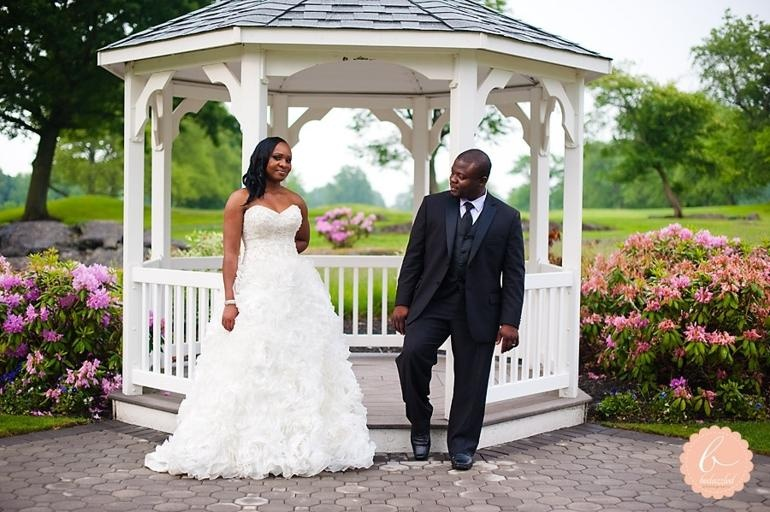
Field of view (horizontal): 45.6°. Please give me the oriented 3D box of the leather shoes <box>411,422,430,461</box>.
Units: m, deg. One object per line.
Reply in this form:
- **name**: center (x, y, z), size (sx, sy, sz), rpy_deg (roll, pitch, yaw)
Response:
- **leather shoes**: center (0.389, 2.030, 10.082), size (0.144, 0.461, 0.190), rpy_deg (-2, 5, 8)

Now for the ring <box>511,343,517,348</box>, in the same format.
- **ring**: center (1.384, 0.958, 9.902), size (0.050, 0.038, 0.051), rpy_deg (-1, -1, 0)

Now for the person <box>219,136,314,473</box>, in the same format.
- **person**: center (-1.350, -0.268, 10.058), size (1.049, 2.030, 0.445), rpy_deg (-7, 16, -29)
